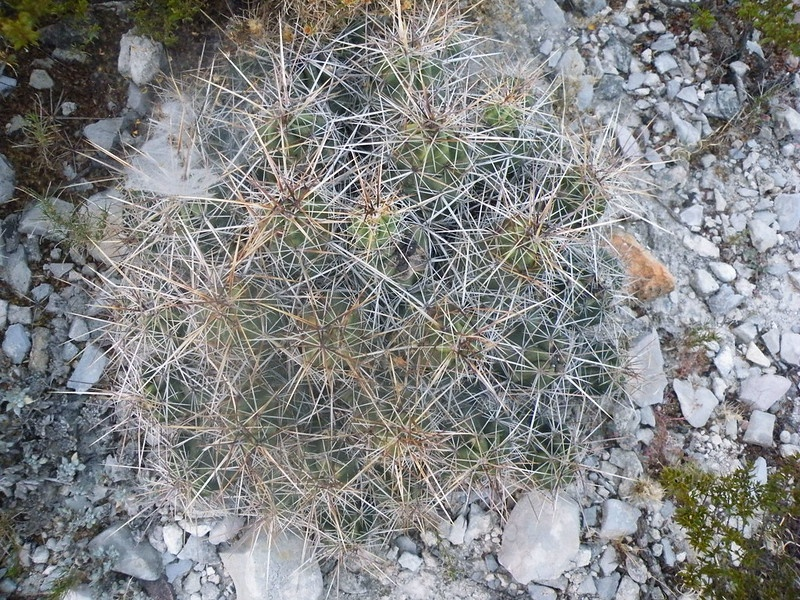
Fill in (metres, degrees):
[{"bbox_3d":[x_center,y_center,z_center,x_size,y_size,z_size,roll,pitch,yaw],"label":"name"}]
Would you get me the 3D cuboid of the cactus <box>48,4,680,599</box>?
[{"bbox_3d":[-0.195,-0.045,4.095,2.819,1.141,2.926,-6,85,-2],"label":"cactus"}]
